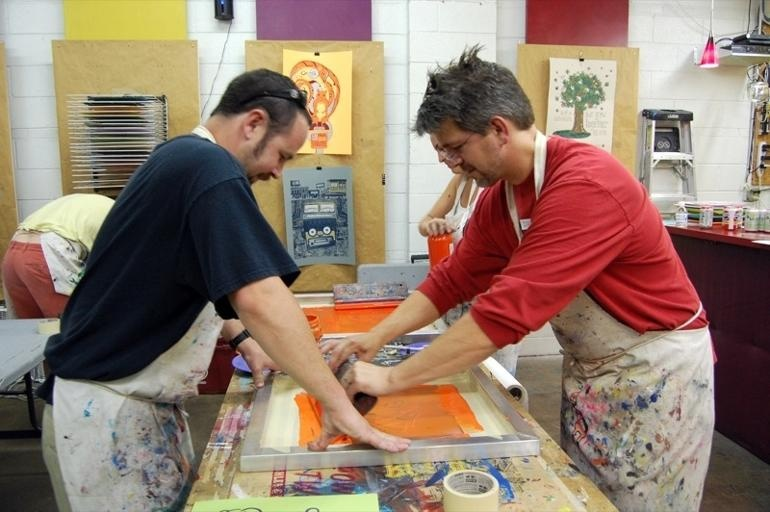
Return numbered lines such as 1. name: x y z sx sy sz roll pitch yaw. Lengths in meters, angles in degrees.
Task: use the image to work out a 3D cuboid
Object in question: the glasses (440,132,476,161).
1. glasses: 0.272 -0.418 2.101 0.105 0.036 0.100 -17 5 -35
